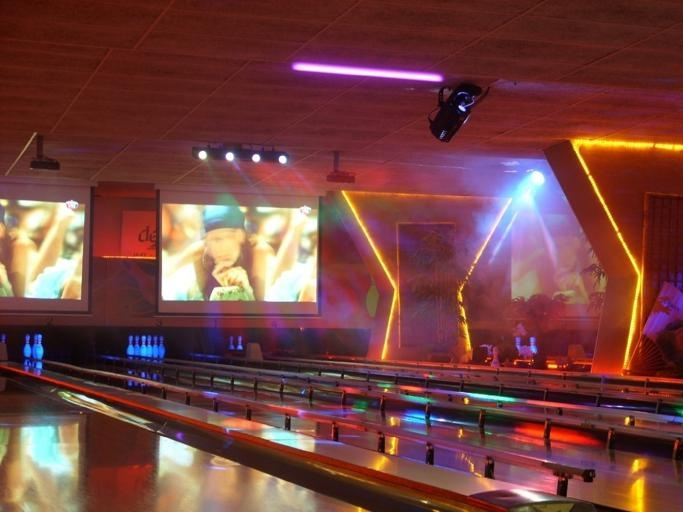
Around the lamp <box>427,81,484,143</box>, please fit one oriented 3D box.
[{"bbox_3d":[1.284,-1.499,5.818,0.595,0.590,0.496,0,-6,14],"label":"lamp"}]

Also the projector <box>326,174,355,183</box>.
[{"bbox_3d":[-0.005,-1.214,8.522,0.266,0.077,0.250,1,1,-5],"label":"projector"}]
